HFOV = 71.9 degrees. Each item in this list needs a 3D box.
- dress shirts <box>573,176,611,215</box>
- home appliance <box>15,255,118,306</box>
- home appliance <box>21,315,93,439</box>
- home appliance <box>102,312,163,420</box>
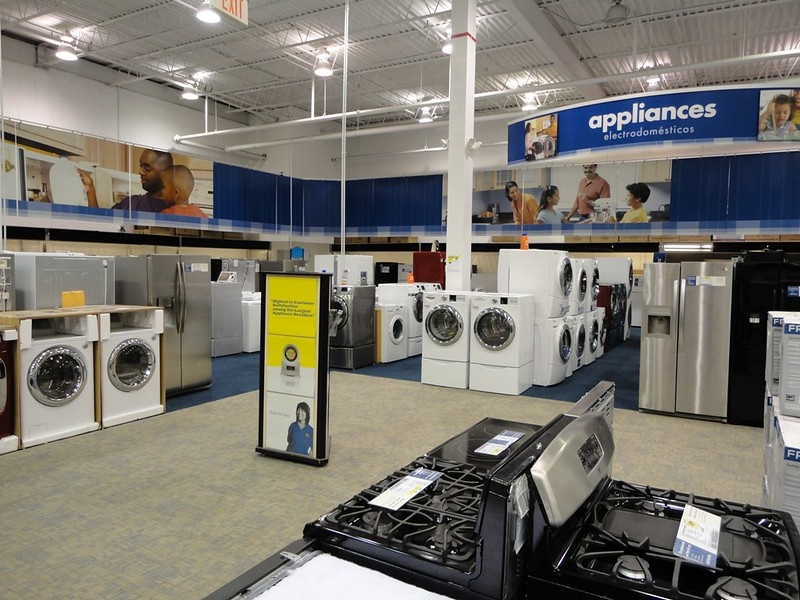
[{"bbox_3d":[5.317,-2.916,15.182,0.468,0.943,0.802,-12,20,-35],"label":"dress shirts"},{"bbox_3d":[-3.666,-0.188,6.016,0.459,0.770,0.848,0,-3,22],"label":"home appliance"},{"bbox_3d":[-3.516,0.710,5.605,0.641,1.214,0.708,9,10,44],"label":"home appliance"},{"bbox_3d":[-3.016,0.681,6.121,0.718,1.257,0.487,-6,10,-43],"label":"home appliance"}]
